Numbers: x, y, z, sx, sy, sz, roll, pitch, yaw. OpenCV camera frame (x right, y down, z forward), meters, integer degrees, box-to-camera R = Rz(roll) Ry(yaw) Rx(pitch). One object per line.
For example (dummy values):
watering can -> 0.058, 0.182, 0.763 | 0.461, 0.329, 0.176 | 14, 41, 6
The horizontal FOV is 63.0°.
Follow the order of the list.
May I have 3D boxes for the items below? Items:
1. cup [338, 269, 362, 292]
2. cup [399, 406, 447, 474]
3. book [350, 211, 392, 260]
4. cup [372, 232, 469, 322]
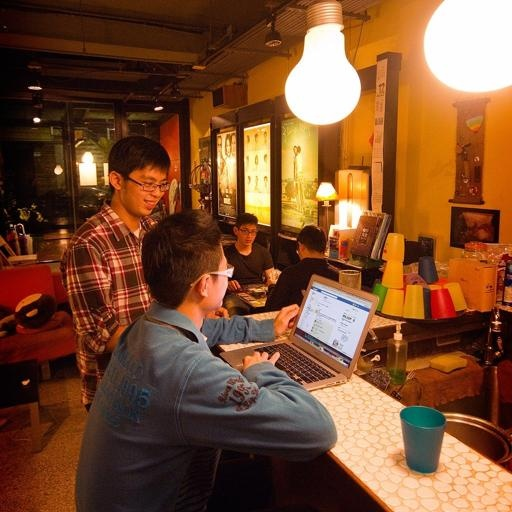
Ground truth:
cup -> 0.455, 0.114, 2.053 | 0.117, 0.080, 0.113 | 0, 3, 0
cup -> 0.404, 0.460, 1.043 | 0.116, 0.151, 0.099 | 14, 10, 27
book -> 1.083, -0.168, 3.750 | 0.111, 0.395, 0.410 | 17, -4, -29
cup -> 0.851, 0.072, 2.056 | 0.470, 0.290, 0.430 | -1, 10, 0
